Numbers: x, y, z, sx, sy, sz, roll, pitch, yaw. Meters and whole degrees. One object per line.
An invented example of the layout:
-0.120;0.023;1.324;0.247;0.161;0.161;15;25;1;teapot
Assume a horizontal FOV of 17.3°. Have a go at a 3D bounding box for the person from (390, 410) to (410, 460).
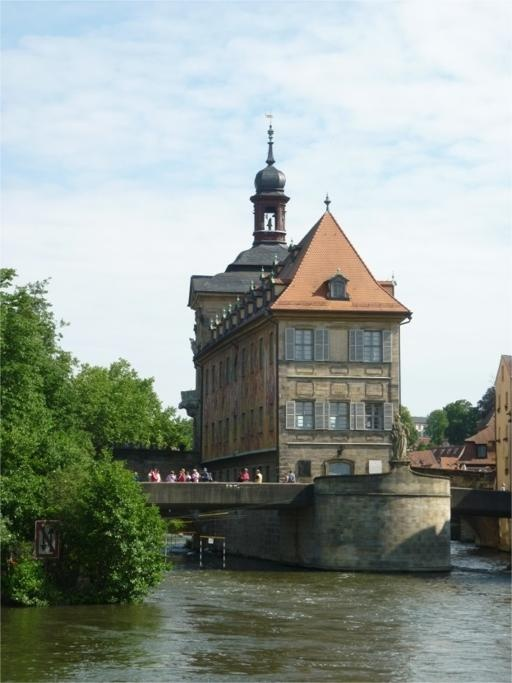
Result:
5.619;3.900;65.686;0.550;1.613;1.206;2;0;3;person
